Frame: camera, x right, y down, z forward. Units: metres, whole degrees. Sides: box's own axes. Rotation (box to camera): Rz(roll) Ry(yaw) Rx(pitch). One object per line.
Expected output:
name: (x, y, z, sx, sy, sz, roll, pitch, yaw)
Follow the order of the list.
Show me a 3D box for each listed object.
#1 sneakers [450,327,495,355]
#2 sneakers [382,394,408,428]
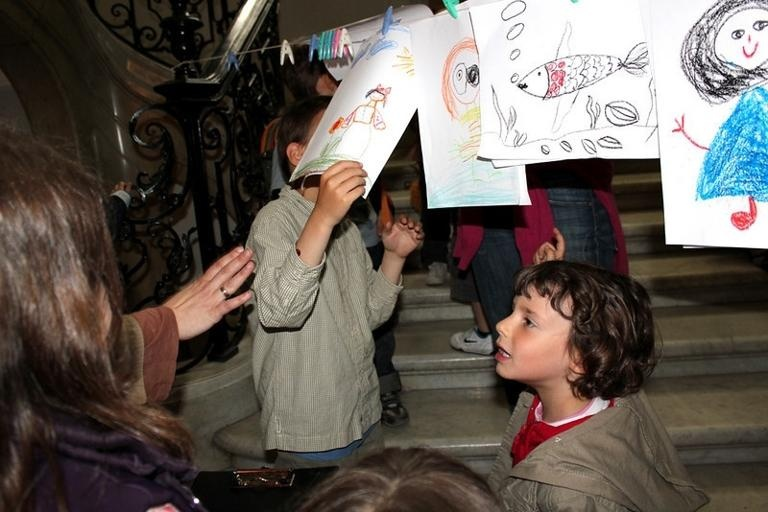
sneakers: (0.495, 0.478, 3.267, 0.259, 0.122, 0.103, 6, 54, 26)
sneakers: (0.053, 0.798, 2.979, 0.078, 0.094, 0.216, -5, -1, -11)
